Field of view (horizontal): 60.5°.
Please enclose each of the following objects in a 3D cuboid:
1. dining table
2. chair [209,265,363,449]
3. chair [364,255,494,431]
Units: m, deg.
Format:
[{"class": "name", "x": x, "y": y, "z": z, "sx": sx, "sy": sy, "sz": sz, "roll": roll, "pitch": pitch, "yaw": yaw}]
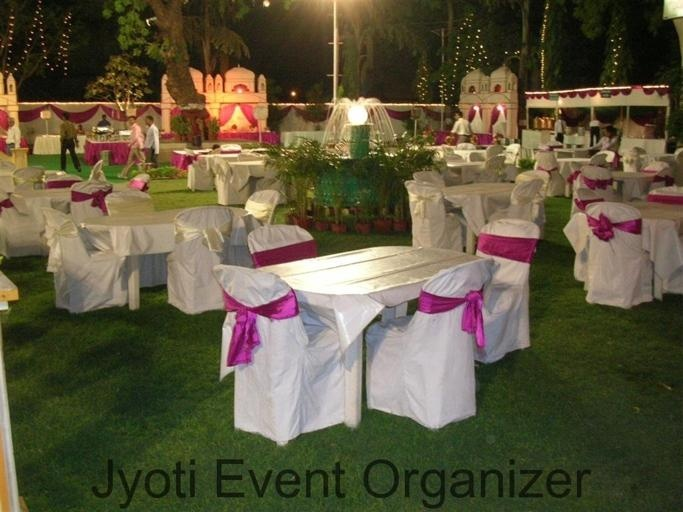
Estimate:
[{"class": "dining table", "x": 0.145, "y": 0.131, "z": 4.439, "sx": 1.035, "sy": 0.897, "sz": 1.573, "roll": 10, "pitch": 19, "yaw": 34}, {"class": "chair", "x": -0.511, "y": 0.471, "z": 4.296, "sx": 0.963, "sy": 1.510, "sz": 1.013, "roll": 9, "pitch": 15, "yaw": 37}, {"class": "chair", "x": 0.756, "y": 0.515, "z": 4.499, "sx": 0.845, "sy": 1.524, "sz": 0.978, "roll": -7, "pitch": 12, "yaw": -38}]
